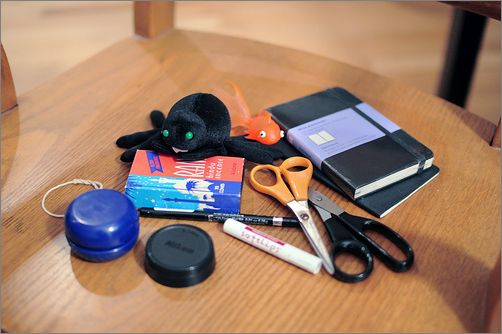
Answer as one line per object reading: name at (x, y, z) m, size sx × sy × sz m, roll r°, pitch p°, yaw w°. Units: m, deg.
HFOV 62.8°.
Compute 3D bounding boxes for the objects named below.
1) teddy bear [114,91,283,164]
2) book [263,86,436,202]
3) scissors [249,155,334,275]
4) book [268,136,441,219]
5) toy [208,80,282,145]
teddy bear at (-0.106, -0.069, 0.904) m, size 0.281 × 0.107 × 0.170 m, roll 8°, pitch 32°, yaw 4°
book at (0.217, -0.059, 0.895) m, size 0.216 × 0.050 × 0.298 m, roll -23°, pitch 49°, yaw -28°
scissors at (0.084, 0.100, 0.855) m, size 0.125 × 0.026 × 0.232 m, roll -13°, pitch 50°, yaw -21°
book at (0.221, -0.023, 0.843) m, size 0.221 × 0.031 × 0.171 m, roll 41°, pitch 51°, yaw 22°
toy at (0.001, -0.120, 1.005) m, size 0.095 × 0.102 × 0.194 m, roll -19°, pitch 54°, yaw -39°
